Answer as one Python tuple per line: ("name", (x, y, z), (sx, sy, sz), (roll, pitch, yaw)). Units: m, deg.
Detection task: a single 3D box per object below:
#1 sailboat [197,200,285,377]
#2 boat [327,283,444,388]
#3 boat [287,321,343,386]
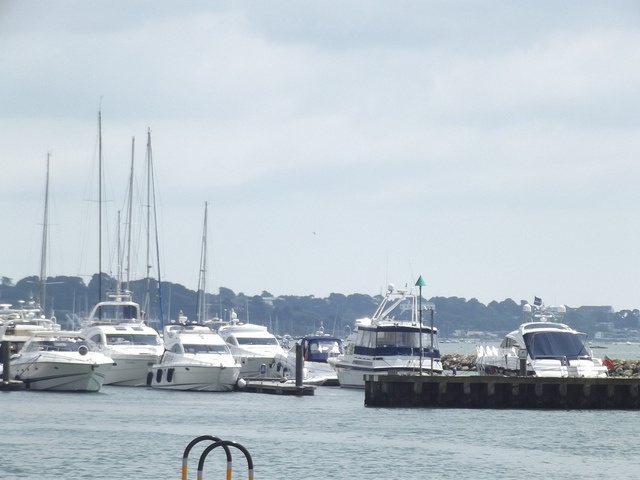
("sailboat", (-6.302, 3.418, 109.381), (3.466, 13.787, 13.654), (6, -11, -31))
("boat", (3.708, 6.116, 100.600), (4.401, 6.302, 11.816), (-2, -1, -29))
("boat", (0.016, 8.456, 108.087), (4.292, 3.939, 9.926), (0, 0, -8))
